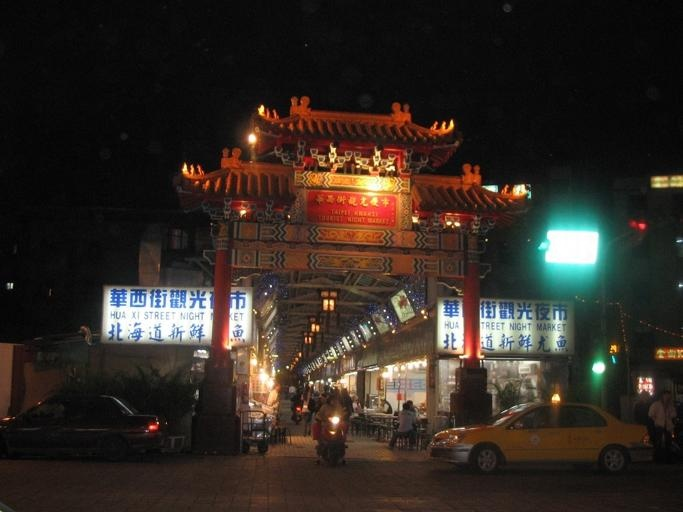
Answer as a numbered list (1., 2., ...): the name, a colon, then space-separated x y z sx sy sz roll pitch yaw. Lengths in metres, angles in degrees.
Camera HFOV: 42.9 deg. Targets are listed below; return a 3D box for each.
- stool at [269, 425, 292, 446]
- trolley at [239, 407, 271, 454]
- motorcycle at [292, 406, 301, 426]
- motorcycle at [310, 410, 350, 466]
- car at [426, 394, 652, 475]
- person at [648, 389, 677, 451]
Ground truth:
1. stool: -2.164 6.422 30.807 0.968 0.906 0.731 1 0 3
2. trolley: -2.612 5.613 27.556 1.287 0.876 0.685 -14 -9 41
3. motorcycle: -2.223 8.180 44.377 0.423 0.549 0.968 4 -11 -3
4. motorcycle: -0.262 5.254 24.855 0.656 1.496 0.980 12 -16 -39
5. car: 5.539 5.062 24.014 5.392 1.687 2.327 2 -12 -1
6. person: 9.750 4.996 26.330 0.766 1.779 0.863 -3 -13 19
